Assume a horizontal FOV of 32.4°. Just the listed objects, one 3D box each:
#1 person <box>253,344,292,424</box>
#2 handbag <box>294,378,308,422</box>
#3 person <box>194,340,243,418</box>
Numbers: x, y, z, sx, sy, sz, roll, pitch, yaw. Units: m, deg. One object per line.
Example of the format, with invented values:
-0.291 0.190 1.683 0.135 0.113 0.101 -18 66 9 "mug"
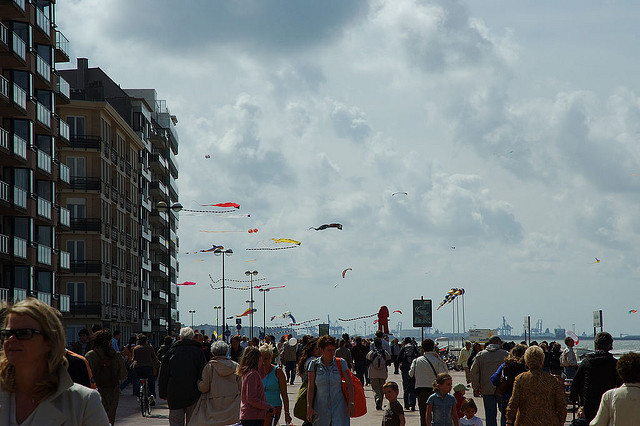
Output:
-1.118 4.204 27.088 0.663 1.873 0.922 -1 -10 -3 "person"
-0.428 4.480 26.446 0.318 0.968 0.521 -1 -10 -2 "handbag"
-2.401 4.083 26.901 1.061 1.847 0.382 -1 -10 0 "person"
